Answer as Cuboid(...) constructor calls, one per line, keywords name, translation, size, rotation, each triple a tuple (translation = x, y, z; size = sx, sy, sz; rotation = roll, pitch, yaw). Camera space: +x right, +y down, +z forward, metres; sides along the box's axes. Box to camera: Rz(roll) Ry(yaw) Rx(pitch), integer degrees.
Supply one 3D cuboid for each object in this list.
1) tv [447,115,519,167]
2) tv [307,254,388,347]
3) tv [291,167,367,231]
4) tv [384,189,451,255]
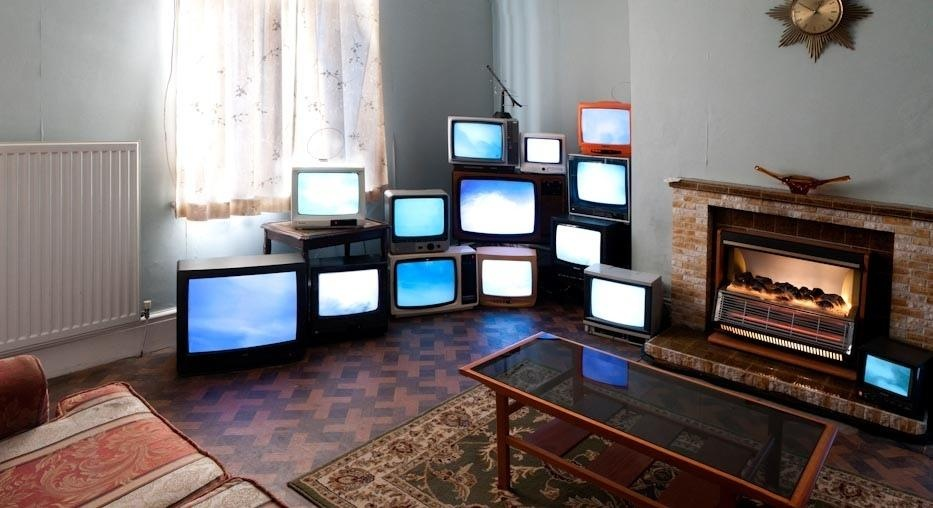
Cuboid(name="tv", translation=(0.184, -1.203, 6.709), size=(0.933, 0.555, 0.523), rotation=(1, 3, 7))
Cuboid(name="tv", translation=(-1.124, 0.435, 5.865), size=(0.959, 0.761, 0.469), rotation=(-2, 6, -18))
Cuboid(name="tv", translation=(-1.306, -0.553, 6.262), size=(0.975, 0.710, 0.573), rotation=(0, 1, -9))
Cuboid(name="tv", translation=(-0.564, -0.366, 6.697), size=(0.887, 0.789, 0.615), rotation=(-2, 3, -13))
